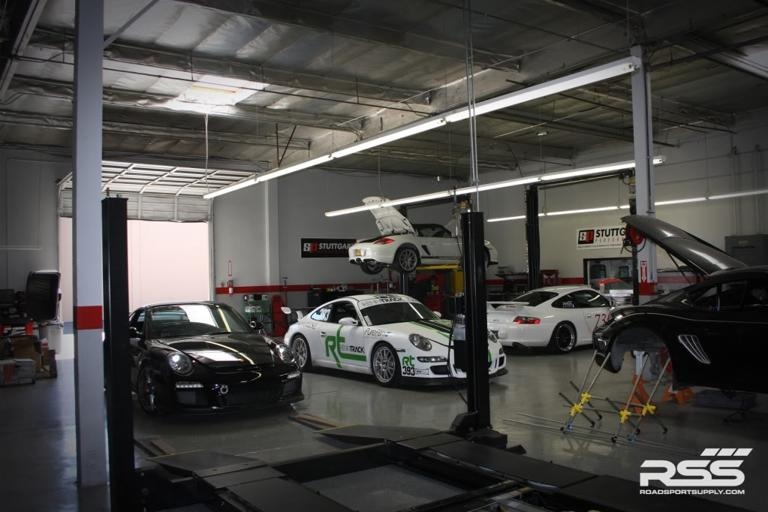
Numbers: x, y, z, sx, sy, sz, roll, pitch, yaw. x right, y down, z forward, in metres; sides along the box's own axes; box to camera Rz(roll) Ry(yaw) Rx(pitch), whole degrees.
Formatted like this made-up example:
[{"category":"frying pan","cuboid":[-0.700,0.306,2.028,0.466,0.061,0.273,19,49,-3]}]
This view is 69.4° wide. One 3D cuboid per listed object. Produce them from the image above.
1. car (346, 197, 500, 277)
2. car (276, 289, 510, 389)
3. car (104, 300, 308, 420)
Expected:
[{"category":"car","cuboid":[1.206,-0.546,17.549,4.724,1.901,2.269,0,-1,-37]},{"category":"car","cuboid":[0.015,1.479,10.145,1.838,1.078,3.574,3,-6,-44]},{"category":"car","cuboid":[-2.900,1.487,8.728,1.604,0.832,2.729,1,-2,-33]}]
